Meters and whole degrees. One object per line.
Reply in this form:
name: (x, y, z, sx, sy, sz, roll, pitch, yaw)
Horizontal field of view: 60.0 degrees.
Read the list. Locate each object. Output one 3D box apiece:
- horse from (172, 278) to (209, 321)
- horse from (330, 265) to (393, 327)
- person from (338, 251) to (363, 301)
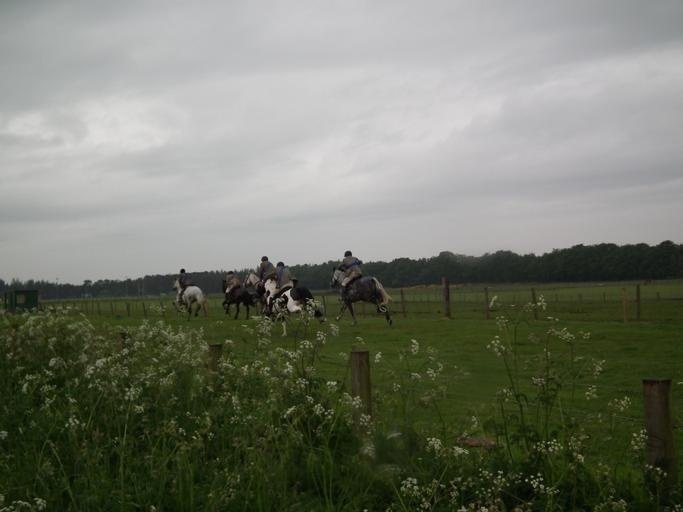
horse: (-9.696, 2.747, 37.687, 0.876, 2.372, 3.993, -4, 4, -44)
horse: (0.799, 1.967, 29.065, 3.731, 2.898, 0.929, -1, 2, 40)
person: (0.397, 0.888, 29.548, 1.223, 2.386, 1.027, -6, -7, 19)
